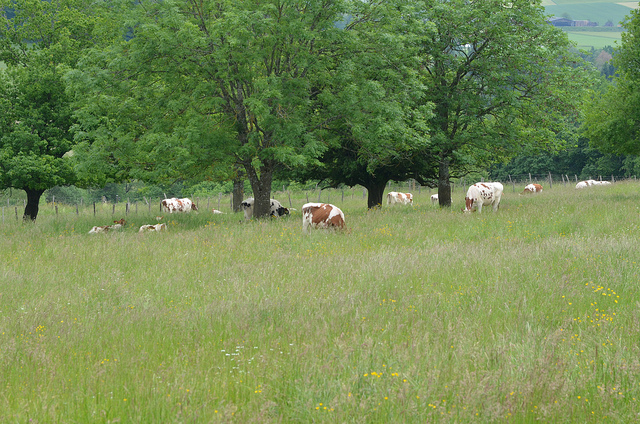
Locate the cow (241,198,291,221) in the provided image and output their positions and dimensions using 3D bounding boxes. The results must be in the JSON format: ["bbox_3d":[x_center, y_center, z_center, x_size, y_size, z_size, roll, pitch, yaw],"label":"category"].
[{"bbox_3d":[-3.156,-0.250,45.775,2.826,1.239,4.730,0,3,-6],"label":"cow"}]

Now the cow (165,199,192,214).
[{"bbox_3d":[-9.820,-0.471,56.054,1.851,0.818,2.531,3,4,43],"label":"cow"}]

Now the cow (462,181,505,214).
[{"bbox_3d":[9.495,-0.646,44.574,3.301,1.909,1.006,-13,15,-31],"label":"cow"}]

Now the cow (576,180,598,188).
[{"bbox_3d":[24.342,-2.518,69.193,1.190,0.669,3.330,3,4,37],"label":"cow"}]

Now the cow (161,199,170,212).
[{"bbox_3d":[-11.204,-0.432,55.683,0.496,0.883,3.188,0,3,-12],"label":"cow"}]

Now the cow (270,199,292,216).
[{"bbox_3d":[-2.482,-0.232,46.636,1.067,0.934,2.224,-1,3,-25],"label":"cow"}]

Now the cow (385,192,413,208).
[{"bbox_3d":[6.279,-1.011,59.415,1.880,0.920,2.782,1,3,5],"label":"cow"}]

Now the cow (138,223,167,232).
[{"bbox_3d":[-8.853,0.870,40.548,1.105,0.625,0.272,-2,10,-16],"label":"cow"}]

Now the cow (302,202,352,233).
[{"bbox_3d":[0.414,0.531,38.817,3.092,1.807,1.185,6,-4,35],"label":"cow"}]

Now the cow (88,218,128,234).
[{"bbox_3d":[-11.191,0.909,40.427,1.841,1.013,0.720,-12,39,-29],"label":"cow"}]

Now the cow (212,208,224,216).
[{"bbox_3d":[-7.092,0.113,52.967,0.911,0.347,0.572,8,9,27],"label":"cow"}]
